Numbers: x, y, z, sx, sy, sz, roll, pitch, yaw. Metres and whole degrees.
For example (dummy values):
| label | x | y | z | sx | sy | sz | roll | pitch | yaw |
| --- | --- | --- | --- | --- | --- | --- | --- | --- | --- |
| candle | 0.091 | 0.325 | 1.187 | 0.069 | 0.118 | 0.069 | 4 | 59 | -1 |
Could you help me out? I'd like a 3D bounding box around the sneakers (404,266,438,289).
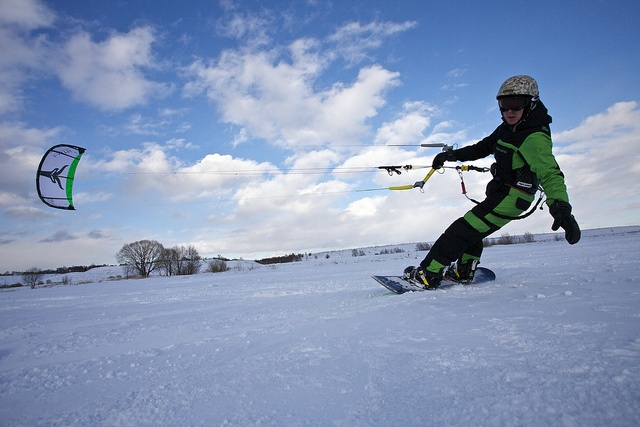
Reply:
| label | x | y | z | sx | sy | sz | roll | pitch | yaw |
| --- | --- | --- | --- | --- | --- | --- | --- | --- | --- |
| sneakers | 1.474 | 0.893 | 5.413 | 0.176 | 0.217 | 0.510 | -5 | 17 | -35 |
